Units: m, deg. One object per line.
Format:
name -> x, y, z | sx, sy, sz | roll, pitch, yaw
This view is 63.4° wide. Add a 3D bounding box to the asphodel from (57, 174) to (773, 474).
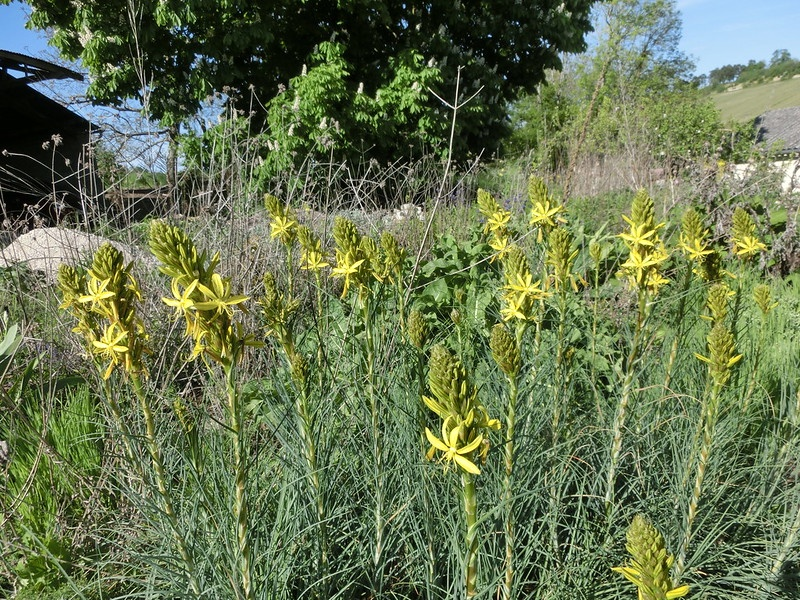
asphodel -> 0.042, 0.178, 4.293 | 2.527, 1.495, 1.981 | 4, -8, -41
